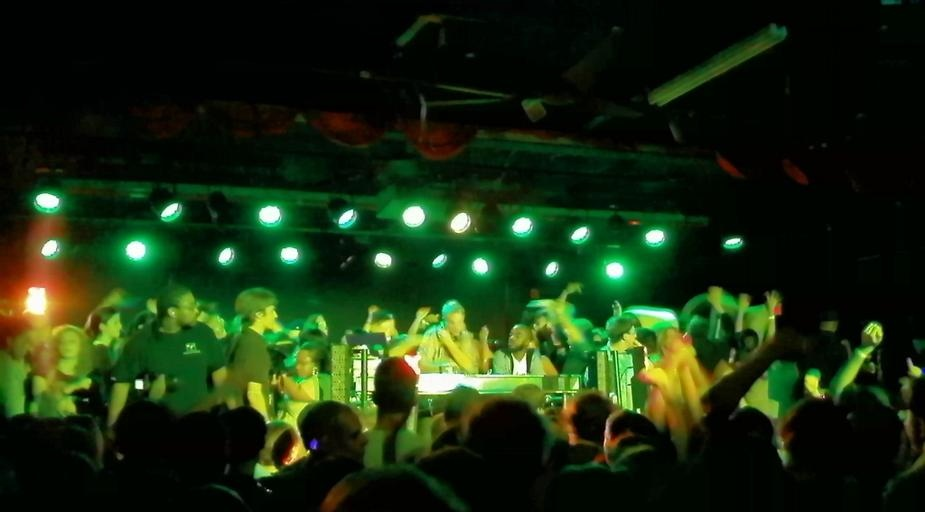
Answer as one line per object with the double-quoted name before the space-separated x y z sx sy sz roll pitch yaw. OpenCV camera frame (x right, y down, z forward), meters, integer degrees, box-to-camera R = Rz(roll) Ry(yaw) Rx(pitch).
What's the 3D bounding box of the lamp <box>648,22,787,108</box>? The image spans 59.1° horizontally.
"lamp" 3.329 -2.586 10.718 2.027 0.321 0.448 -28 -29 -2
